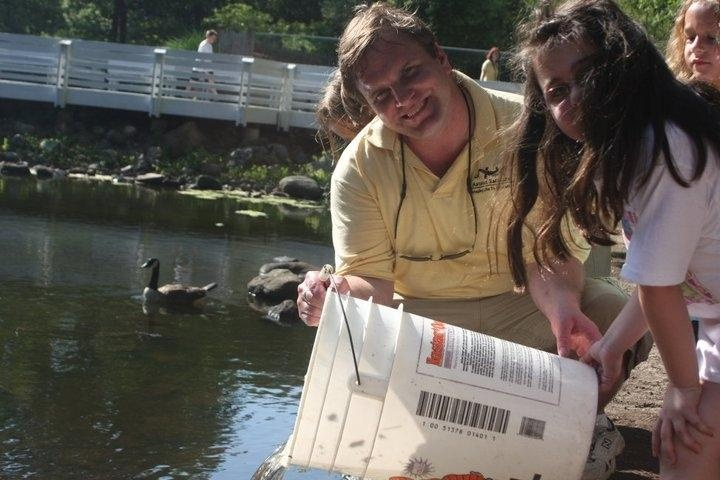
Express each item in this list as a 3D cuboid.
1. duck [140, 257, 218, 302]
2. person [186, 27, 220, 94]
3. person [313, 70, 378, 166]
[{"bbox_3d":[-1.894,0.490,11.701,0.746,0.662,0.334,-3,-5,-20],"label":"duck"},{"bbox_3d":[-3.216,-3.650,22.823,0.597,1.494,2.085,4,3,-9],"label":"person"},{"bbox_3d":[-0.258,-0.942,9.438,0.355,0.846,0.597,28,14,33],"label":"person"}]
